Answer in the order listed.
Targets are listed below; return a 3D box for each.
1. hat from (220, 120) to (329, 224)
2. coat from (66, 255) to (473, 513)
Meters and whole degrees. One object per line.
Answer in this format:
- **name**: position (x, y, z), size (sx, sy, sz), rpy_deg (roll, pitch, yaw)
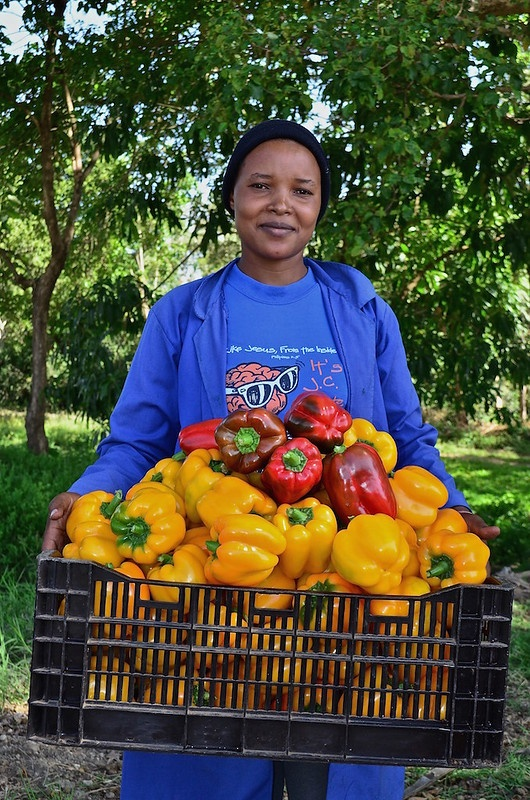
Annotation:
- **hat**: position (0.021, -0.619, 2.220), size (0.298, 0.329, 0.142), rpy_deg (4, 13, 2)
- **coat**: position (0.012, -0.124, 2.421), size (1.333, 0.821, 0.671), rpy_deg (-1, -5, -4)
